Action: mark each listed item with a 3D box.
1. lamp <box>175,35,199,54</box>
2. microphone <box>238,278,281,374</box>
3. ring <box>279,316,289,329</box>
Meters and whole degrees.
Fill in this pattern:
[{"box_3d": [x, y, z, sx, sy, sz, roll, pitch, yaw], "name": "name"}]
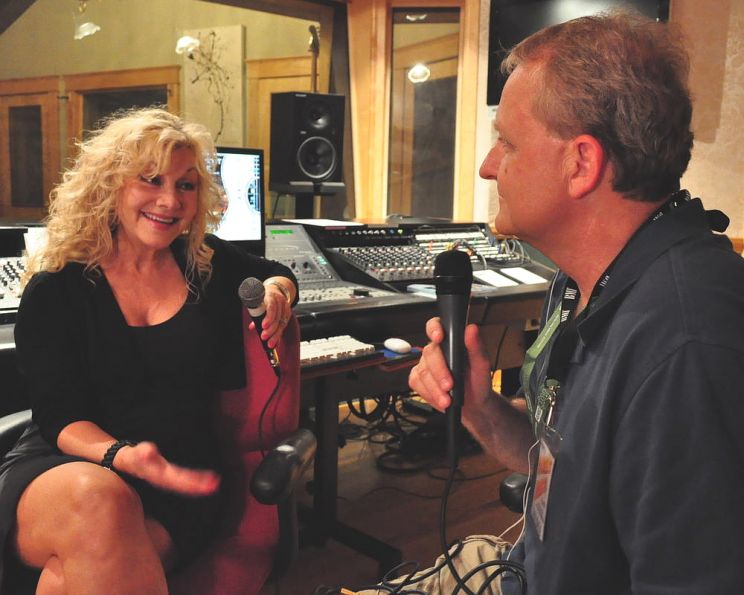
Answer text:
[{"box_3d": [-1.357, -1.854, 4.986, 0.185, 0.140, 0.161, -4, 11, -9], "name": "lamp"}, {"box_3d": [-0.263, 0.061, 1.603, 0.073, 0.240, 0.243, -4, 11, -9], "name": "microphone"}, {"box_3d": [-0.208, 0.061, 1.608, 0.018, 0.025, 0.021, 9, 6, -7], "name": "ring"}]
